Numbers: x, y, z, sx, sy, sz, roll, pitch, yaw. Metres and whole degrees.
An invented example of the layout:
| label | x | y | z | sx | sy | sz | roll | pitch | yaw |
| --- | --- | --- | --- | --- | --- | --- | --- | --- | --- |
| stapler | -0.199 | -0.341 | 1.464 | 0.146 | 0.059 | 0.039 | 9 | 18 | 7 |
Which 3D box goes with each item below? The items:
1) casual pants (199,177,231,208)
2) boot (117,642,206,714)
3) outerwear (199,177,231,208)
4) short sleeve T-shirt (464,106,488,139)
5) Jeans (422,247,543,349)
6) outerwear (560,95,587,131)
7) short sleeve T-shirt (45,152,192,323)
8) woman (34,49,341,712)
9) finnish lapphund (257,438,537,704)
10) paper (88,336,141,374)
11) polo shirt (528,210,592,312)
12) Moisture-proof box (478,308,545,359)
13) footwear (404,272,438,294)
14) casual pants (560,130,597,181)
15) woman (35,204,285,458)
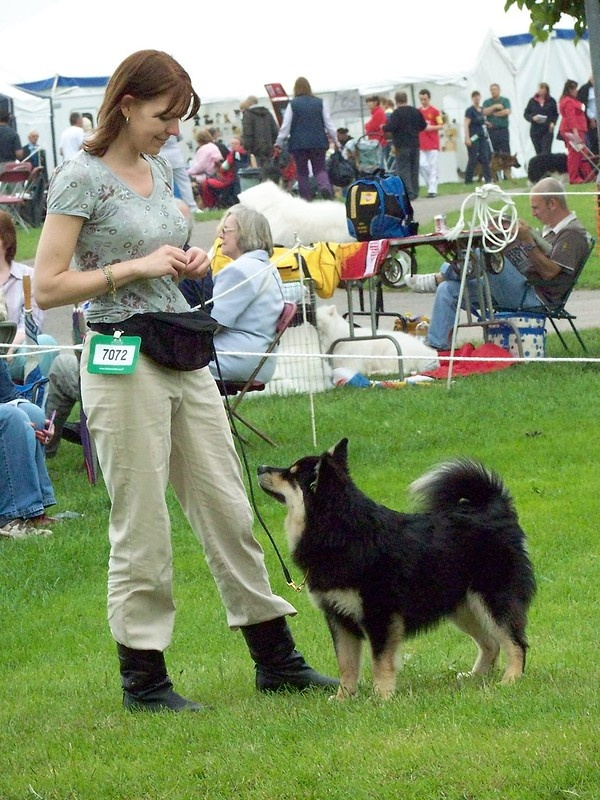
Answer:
| label | x | y | z | sx | sy | sz | roll | pitch | yaw |
| --- | --- | --- | --- | --- | --- | --- | --- | --- | --- |
| casual pants | -1.638 | -4.142 | 22.110 | 0.497 | 0.595 | 0.642 | -3 | -27 | -3 |
| boot | -0.426 | 0.924 | 3.769 | 0.394 | 0.289 | 0.145 | 0 | 2 | -1 |
| outerwear | -1.644 | -4.147 | 22.134 | 0.497 | 0.595 | 0.642 | -3 | -27 | -3 |
| short sleeve T-shirt | 3.585 | -5.649 | 23.220 | 0.301 | 0.596 | 0.509 | -3 | 23 | 21 |
| Jeans | 1.459 | -0.825 | 9.373 | 0.627 | 0.748 | 0.792 | -1 | 10 | 21 |
| outerwear | 4.965 | -5.229 | 20.807 | 0.379 | 0.575 | 0.581 | -6 | 23 | 0 |
| short sleeve T-shirt | -0.574 | -0.529 | 3.667 | 0.500 | 0.454 | 0.324 | -6 | 2 | -24 |
| woman | -0.437 | -0.017 | 3.731 | 0.799 | 1.745 | 0.498 | -5 | 2 | -20 |
| finnish lapphund | 0.350 | 0.616 | 4.043 | 0.992 | 0.919 | 0.399 | -1 | -1 | -21 |
| paper | -0.579 | -0.142 | 3.572 | 0.113 | 0.116 | 0.016 | 4 | -23 | 7 |
| polo shirt | 2.053 | -1.111 | 9.117 | 0.511 | 0.760 | 0.448 | -3 | 2 | 34 |
| Moisture-proof box | 1.730 | -0.533 | 9.320 | 0.436 | 0.338 | 0.411 | 0 | 0 | 33 |
| footwear | 1.195 | -1.113 | 10.968 | 0.154 | 0.189 | 0.423 | -9 | 11 | -24 |
| casual pants | 5.043 | -4.329 | 20.658 | 0.820 | 1.168 | 0.700 | 2 | 10 | 21 |
| woman | -0.979 | -0.403 | 7.643 | 1.786 | 1.911 | 1.372 | 0 | -2 | -2 |
